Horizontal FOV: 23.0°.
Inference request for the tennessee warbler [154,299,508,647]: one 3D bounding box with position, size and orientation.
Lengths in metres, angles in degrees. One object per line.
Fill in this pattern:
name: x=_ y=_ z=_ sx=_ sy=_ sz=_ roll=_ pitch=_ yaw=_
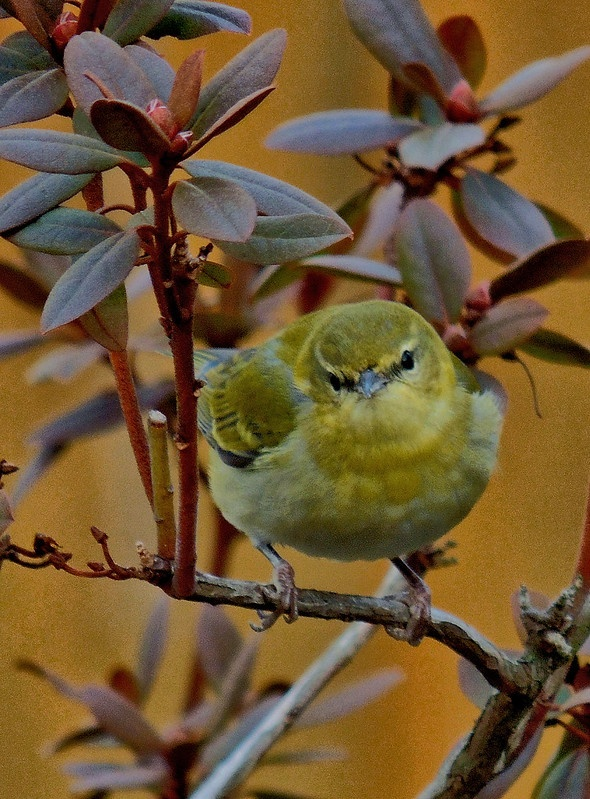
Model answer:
tennessee warbler: x=0.097 y=0.071 z=2.299 sx=0.477 sy=0.857 sz=0.502 roll=0 pitch=-76 yaw=-8
